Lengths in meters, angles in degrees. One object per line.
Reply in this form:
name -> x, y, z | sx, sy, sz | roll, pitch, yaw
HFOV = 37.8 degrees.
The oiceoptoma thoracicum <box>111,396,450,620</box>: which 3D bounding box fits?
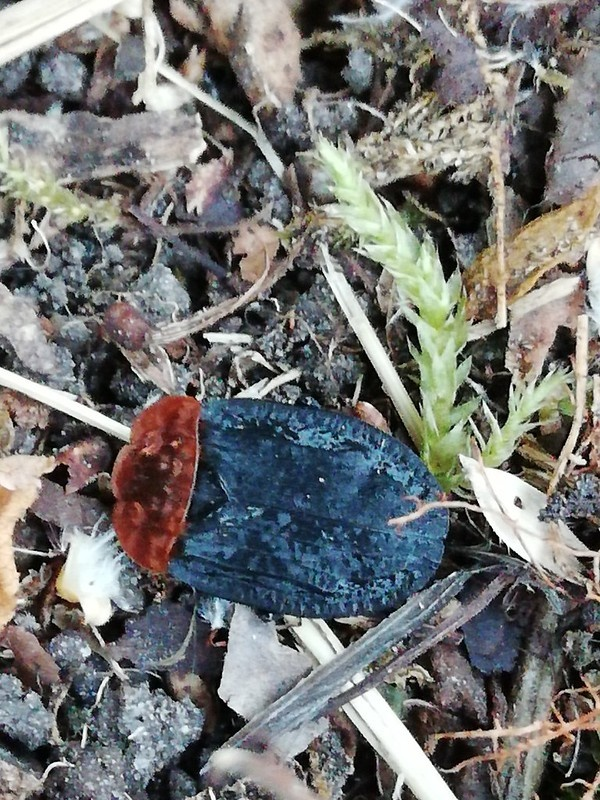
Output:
oiceoptoma thoracicum -> -0.023, 0.114, 0.922 | 0.270, 0.275, 0.227 | -2, 89, 6
